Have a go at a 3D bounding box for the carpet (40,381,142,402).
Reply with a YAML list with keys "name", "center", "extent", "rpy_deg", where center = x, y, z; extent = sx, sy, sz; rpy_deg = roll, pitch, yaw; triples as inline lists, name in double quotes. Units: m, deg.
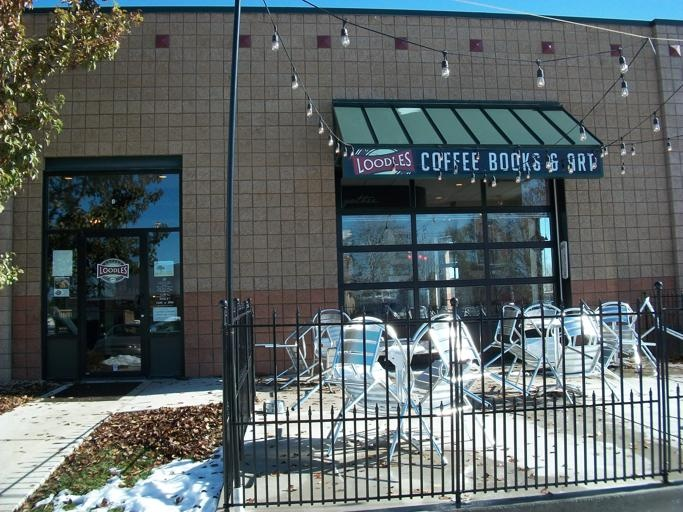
- name: "carpet"
  center: [-4.234, 2.312, 13.187]
  extent: [1.384, 0.214, 1.354]
  rpy_deg: [-3, -4, -2]
